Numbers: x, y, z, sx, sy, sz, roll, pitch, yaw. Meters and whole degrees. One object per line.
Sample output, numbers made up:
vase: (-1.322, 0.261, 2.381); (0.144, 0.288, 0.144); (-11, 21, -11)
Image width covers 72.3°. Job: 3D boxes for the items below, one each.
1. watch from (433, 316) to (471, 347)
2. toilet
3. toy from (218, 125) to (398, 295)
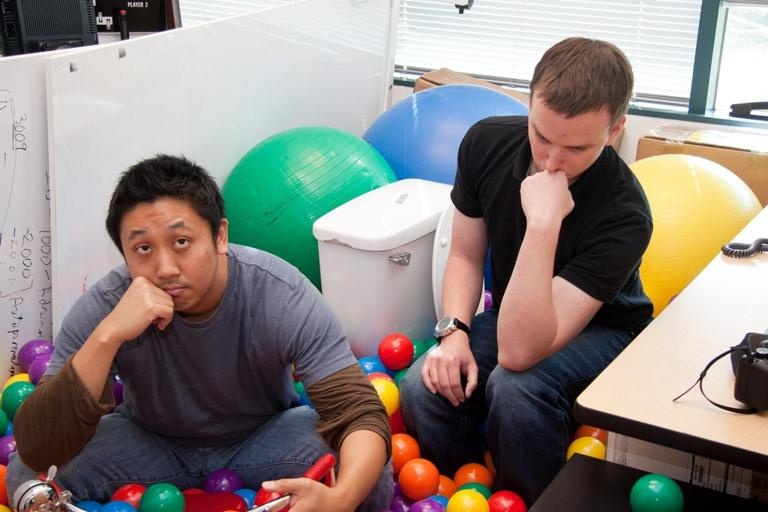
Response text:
watch: (0.245, 0.260, 1.940); (0.118, 0.115, 0.074); (-17, 40, 34)
toilet: (0.049, 0.088, 2.613); (0.487, 0.695, 0.709); (19, 28, 35)
toy: (-0.485, -0.245, 2.977); (0.859, 1.003, 0.867); (-7, 6, 28)
